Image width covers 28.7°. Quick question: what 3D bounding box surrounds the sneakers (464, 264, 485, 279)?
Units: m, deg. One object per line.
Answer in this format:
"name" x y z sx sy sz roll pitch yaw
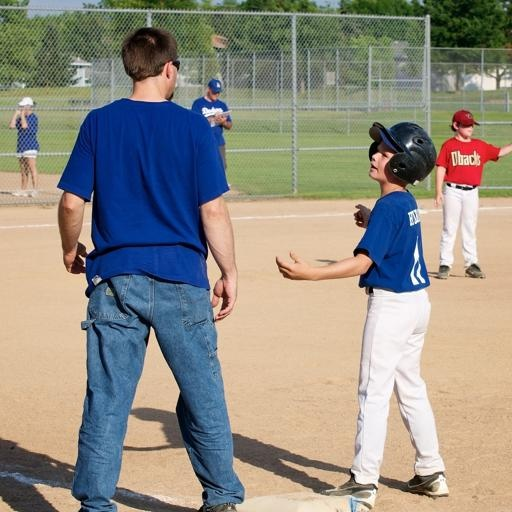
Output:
"sneakers" 2.222 0.177 10.144 0.089 0.117 0.246 -1 -2 29

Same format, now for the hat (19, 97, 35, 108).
"hat" -3.421 -2.248 14.884 0.180 0.127 0.245 14 21 -7

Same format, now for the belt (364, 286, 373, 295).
"belt" 0.604 0.190 5.283 0.037 0.064 0.041 0 -2 -9

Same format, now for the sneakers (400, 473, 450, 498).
"sneakers" 0.920 1.239 5.410 0.101 0.122 0.245 1 -1 -35

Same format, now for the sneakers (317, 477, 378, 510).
"sneakers" 0.476 1.217 5.190 0.346 0.149 0.114 12 -4 8

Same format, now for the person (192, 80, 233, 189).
"person" -0.535 -1.474 13.472 0.594 1.722 0.573 -2 6 11

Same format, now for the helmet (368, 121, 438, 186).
"helmet" 0.808 -0.558 5.389 0.414 0.309 0.299 10 6 -18

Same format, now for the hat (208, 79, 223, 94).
"hat" -0.534 -2.257 13.306 0.146 0.117 0.201 -1 42 -33

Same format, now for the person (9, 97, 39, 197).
"person" -3.512 -1.658 15.237 0.407 1.507 2.321 -4 8 -13

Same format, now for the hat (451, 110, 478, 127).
"hat" 2.071 -1.362 10.083 0.213 0.165 0.307 -13 16 -37

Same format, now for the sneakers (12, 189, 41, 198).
"sneakers" -3.479 -0.920 15.169 0.394 0.151 0.128 4 -1 -1

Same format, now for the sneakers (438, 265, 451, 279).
"sneakers" 1.928 0.181 10.172 0.127 0.163 0.349 0 -4 11

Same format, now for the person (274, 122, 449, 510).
"person" 0.652 0.314 5.267 0.909 1.990 0.409 -6 9 -24
